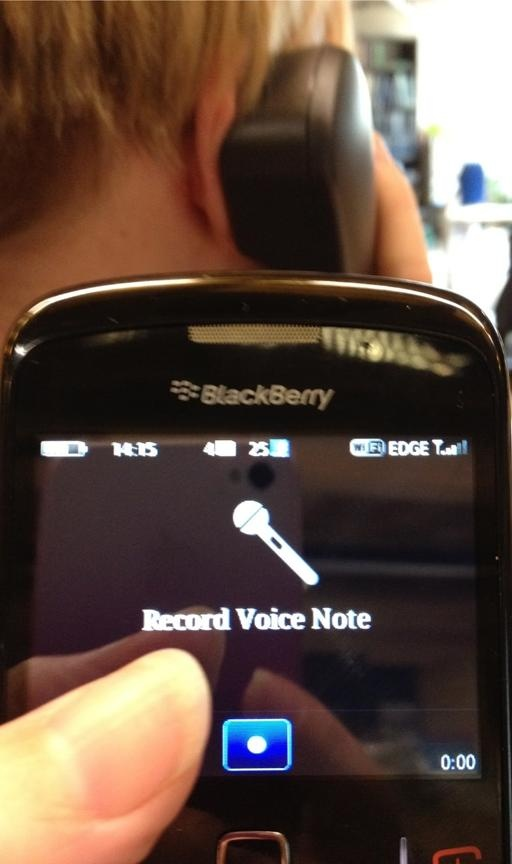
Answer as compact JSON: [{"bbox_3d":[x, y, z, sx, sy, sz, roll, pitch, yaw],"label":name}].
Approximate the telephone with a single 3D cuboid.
[{"bbox_3d":[0.034,-0.180,0.675,0.135,0.191,0.264,-1,92,10],"label":"telephone"}]
